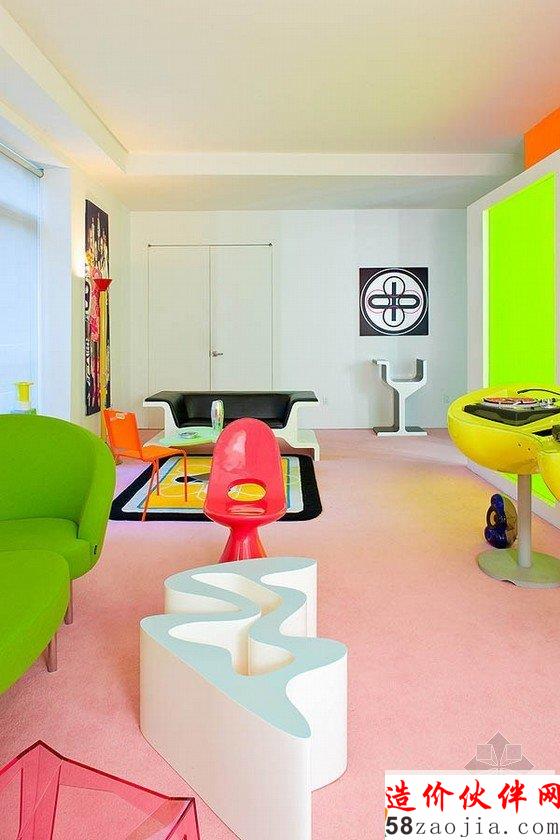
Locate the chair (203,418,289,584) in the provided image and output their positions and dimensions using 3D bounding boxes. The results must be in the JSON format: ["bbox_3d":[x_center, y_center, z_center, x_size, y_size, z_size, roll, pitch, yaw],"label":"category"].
[{"bbox_3d":[-0.155,0.370,2.560,0.314,0.600,0.416,2,13,1],"label":"chair"}]

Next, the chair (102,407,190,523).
[{"bbox_3d":[-0.917,0.275,4.125,0.354,0.766,0.427,6,15,35],"label":"chair"}]

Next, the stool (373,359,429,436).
[{"bbox_3d":[1.536,-0.328,7.506,0.803,1.244,0.597,0,8,-1],"label":"stool"}]
